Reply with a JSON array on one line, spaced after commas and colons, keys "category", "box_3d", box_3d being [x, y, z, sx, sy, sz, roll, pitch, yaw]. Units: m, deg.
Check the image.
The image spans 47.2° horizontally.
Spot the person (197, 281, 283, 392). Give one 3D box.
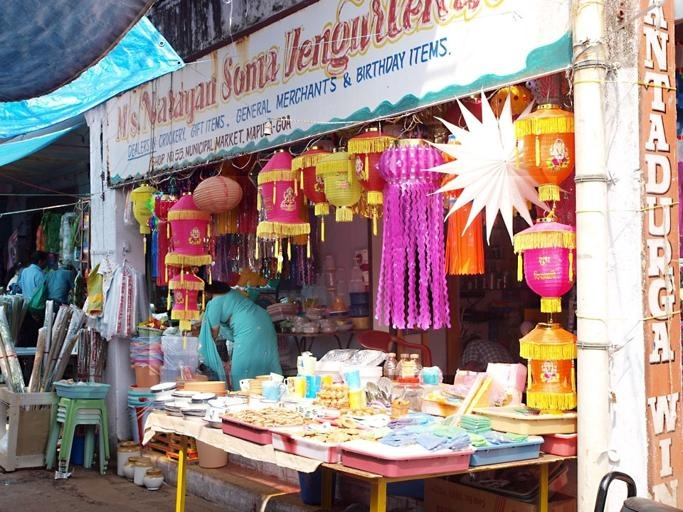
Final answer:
[{"category": "person", "box_3d": [-0.964, 0.704, 7.291, 0.571, 1.061, 0.628, 0, 3, -43]}]

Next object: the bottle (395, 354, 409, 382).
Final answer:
[{"category": "bottle", "box_3d": [0.433, 0.797, 5.603, 0.090, 0.189, 0.279, -2, -6, 3]}]

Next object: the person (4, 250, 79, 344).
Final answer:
[{"category": "person", "box_3d": [-4.150, 0.527, 11.248, 0.976, 1.678, 0.963, 4, 3, 28]}]

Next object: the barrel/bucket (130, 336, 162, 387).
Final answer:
[{"category": "barrel/bucket", "box_3d": [-1.968, 1.072, 7.953, 0.417, 0.485, 0.429, -1, -10, 0]}]

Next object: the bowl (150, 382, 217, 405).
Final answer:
[{"category": "bowl", "box_3d": [-1.131, 1.000, 5.730, 0.413, 0.150, 0.825, 3, -8, -35]}]

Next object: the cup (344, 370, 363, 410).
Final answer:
[{"category": "cup", "box_3d": [0.088, 0.891, 5.268, 0.126, 0.256, 0.416, -2, -6, 0]}]

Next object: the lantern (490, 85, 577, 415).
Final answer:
[{"category": "lantern", "box_3d": [1.208, -0.072, 4.643, 0.387, 1.988, 0.360, -3, -6, 13]}]

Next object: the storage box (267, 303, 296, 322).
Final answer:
[{"category": "storage box", "box_3d": [-0.635, 0.601, 8.447, 0.208, 0.139, 0.206, 6, -12, -44]}]

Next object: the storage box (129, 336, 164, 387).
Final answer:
[{"category": "storage box", "box_3d": [-1.995, 1.044, 8.014, 0.284, 0.526, 0.299, 2, 1, -39]}]

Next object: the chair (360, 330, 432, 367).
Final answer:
[{"category": "chair", "box_3d": [0.498, 0.752, 6.795, 0.453, 0.364, 0.534, 0, 3, -34]}]
